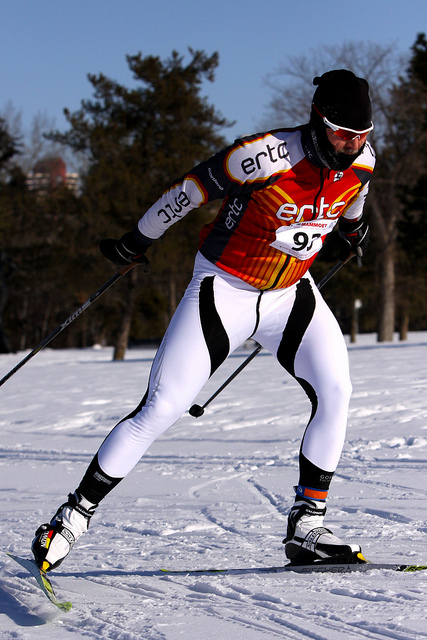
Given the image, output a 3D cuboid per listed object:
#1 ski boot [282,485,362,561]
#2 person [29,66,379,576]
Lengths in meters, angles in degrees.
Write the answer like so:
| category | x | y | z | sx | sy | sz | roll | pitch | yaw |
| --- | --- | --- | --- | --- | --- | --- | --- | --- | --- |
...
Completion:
| category | x | y | z | sx | sy | sz | roll | pitch | yaw |
| --- | --- | --- | --- | --- | --- | --- | --- | --- | --- |
| ski boot | 0.405 | 0.774 | 2.799 | 0.266 | 0.270 | 0.110 | 6 | 1 | 40 |
| person | -0.002 | -0.027 | 2.866 | 1.500 | 1.970 | 1.008 | -1 | 21 | -20 |
